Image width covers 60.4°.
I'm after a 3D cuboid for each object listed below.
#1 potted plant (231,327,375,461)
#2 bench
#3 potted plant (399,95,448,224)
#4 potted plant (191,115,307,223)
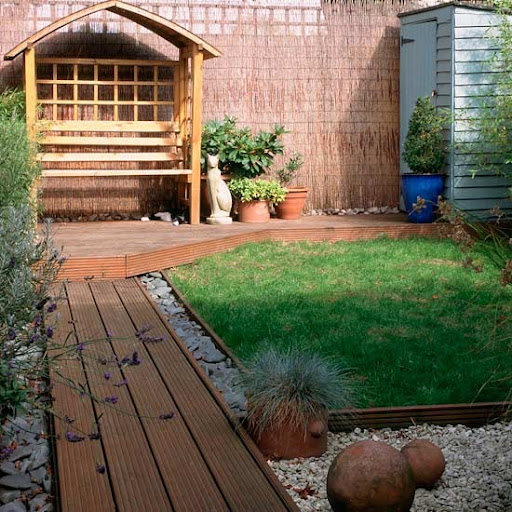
[{"bbox_3d":[0.195,0.543,1.845,0.442,0.405,0.417,1,0,-8],"label":"potted plant"},{"bbox_3d":[-2.263,-1.523,7.368,2.474,1.764,1.652,2,6,-16],"label":"bench"},{"bbox_3d":[2.736,-1.585,7.152,0.695,2.073,0.520,6,6,20],"label":"potted plant"},{"bbox_3d":[0.044,-1.576,8.039,2.131,1.960,1.717,-2,6,-20],"label":"potted plant"}]
